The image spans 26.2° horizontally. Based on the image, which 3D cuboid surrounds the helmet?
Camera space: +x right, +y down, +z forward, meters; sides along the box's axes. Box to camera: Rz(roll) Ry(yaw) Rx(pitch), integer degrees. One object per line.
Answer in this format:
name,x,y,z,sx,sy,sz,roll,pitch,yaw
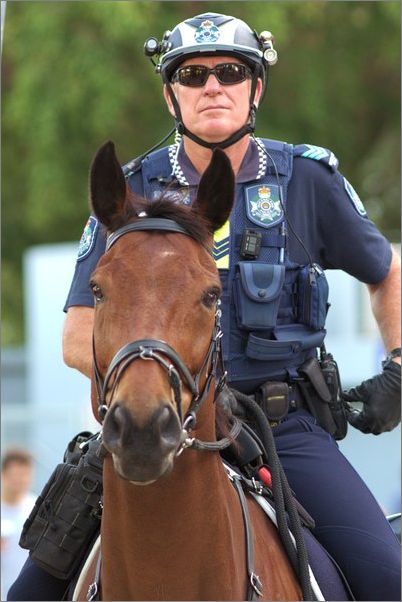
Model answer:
helmet,0.050,-1.079,3.557,0.446,0.520,0.173,3,100,19
